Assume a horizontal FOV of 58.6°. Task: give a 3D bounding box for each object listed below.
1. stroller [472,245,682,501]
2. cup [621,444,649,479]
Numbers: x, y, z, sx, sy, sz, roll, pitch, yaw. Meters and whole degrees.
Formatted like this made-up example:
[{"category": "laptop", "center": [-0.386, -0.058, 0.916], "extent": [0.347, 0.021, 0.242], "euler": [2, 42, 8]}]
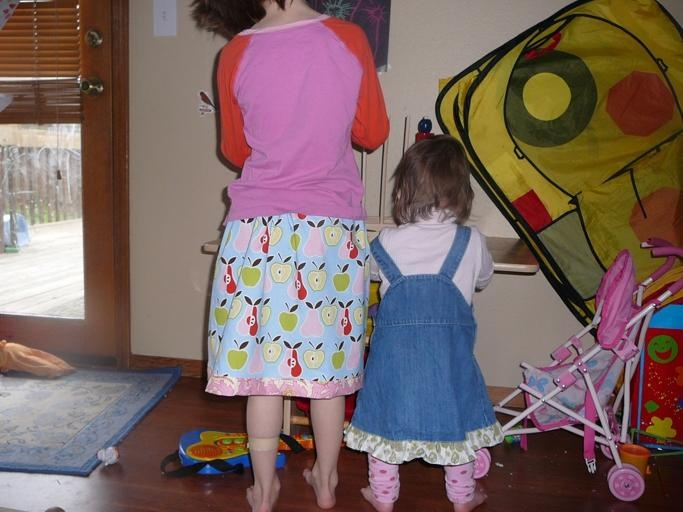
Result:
[{"category": "stroller", "center": [0.979, 0.318, 2.609], "extent": [0.897, 1.375, 0.599], "euler": [3, 10, 12]}, {"category": "cup", "center": [1.056, 0.729, 2.209], "extent": [0.092, 0.082, 0.104], "euler": [-4, 3, -2]}]
